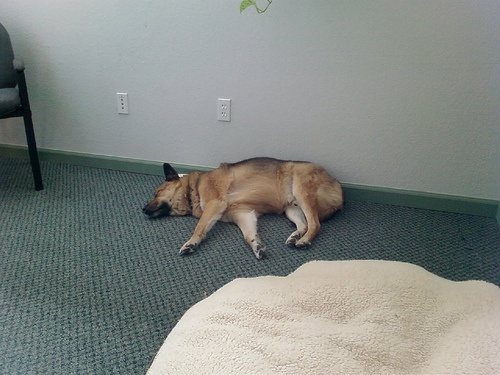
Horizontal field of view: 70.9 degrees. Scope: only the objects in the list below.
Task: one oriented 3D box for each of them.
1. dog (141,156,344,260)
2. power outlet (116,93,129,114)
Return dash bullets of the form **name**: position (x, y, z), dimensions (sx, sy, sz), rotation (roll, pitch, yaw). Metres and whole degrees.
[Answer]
- **dog**: position (-0.009, 0.141, 2.146), dimensions (0.960, 0.237, 0.499), rotation (-5, 41, -5)
- **power outlet**: position (-0.982, -0.646, 2.715), dimensions (0.110, 0.161, 0.036), rotation (11, 31, 8)
